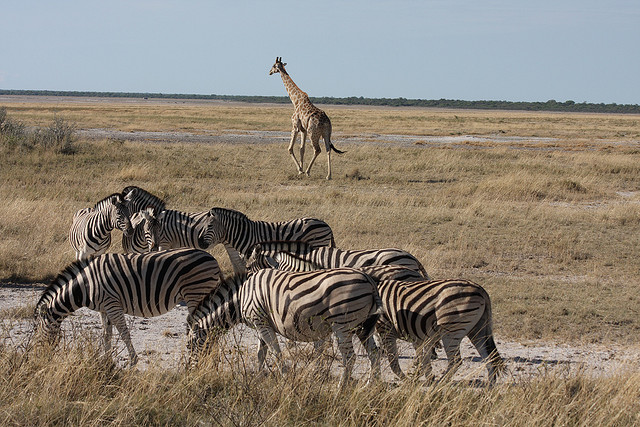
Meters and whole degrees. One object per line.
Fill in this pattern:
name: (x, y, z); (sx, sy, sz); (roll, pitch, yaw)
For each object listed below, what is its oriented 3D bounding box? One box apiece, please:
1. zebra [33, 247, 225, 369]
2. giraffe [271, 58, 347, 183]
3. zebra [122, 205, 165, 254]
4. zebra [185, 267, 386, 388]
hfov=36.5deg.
zebra: (-3.745, 1.887, 19.093); (3.802, 2.549, 1.172); (-7, 20, -12)
giraffe: (-0.540, -3.187, 33.990); (2.252, 5.198, 5.066); (0, -9, -2)
zebra: (-3.774, 0.388, 20.349); (1.146, 0.992, 0.571); (-8, -11, 40)
zebra: (-0.758, 2.226, 18.216); (3.756, 2.319, 1.264); (-4, -2, 14)
